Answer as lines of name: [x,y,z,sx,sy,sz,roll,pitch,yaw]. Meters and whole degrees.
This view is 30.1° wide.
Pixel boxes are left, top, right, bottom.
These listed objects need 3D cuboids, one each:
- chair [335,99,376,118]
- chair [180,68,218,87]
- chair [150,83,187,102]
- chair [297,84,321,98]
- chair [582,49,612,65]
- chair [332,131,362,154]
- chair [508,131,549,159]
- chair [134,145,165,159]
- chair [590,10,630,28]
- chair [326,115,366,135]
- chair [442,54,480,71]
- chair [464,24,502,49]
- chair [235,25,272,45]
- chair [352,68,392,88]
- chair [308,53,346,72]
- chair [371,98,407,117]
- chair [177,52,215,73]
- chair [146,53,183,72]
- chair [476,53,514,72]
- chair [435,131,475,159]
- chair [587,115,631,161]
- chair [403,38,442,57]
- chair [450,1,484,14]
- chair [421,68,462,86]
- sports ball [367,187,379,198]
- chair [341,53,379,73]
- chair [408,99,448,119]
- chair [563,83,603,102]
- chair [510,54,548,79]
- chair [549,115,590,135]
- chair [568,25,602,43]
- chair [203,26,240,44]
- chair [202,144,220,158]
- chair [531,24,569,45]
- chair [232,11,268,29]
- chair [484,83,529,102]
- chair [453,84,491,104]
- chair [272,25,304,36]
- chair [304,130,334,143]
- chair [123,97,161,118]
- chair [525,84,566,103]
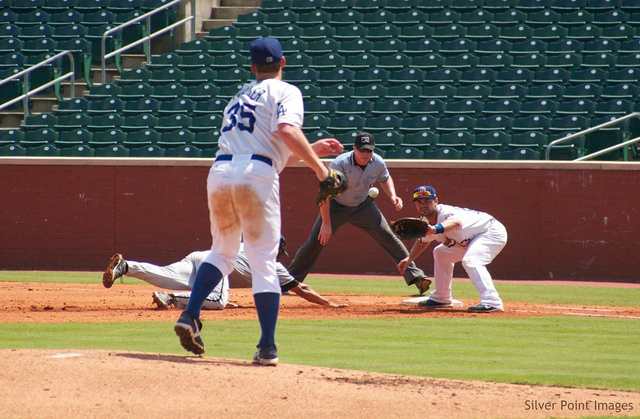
chair: [0.783,-2.223,26.226,0.753,0.447,0.428,0,-17,15]
chair: [-2.796,-3.023,27.476,0.642,0.335,0.590,0,-1,24]
chair: [-3.433,-2.602,27.038,0.645,0.501,0.370,0,-25,22]
chair: [-0.249,-2.643,26.789,0.448,0.262,0.309,-6,4,2]
chair: [6.180,-3.364,26.561,0.630,0.343,0.498,3,4,7]
chair: [0.537,-1.447,25.193,0.571,0.429,0.859,3,4,0]
chair: [4.401,-1.236,24.991,0.792,0.645,0.644,0,-10,23]
chair: [-3.682,-1.258,25.461,0.660,0.241,0.242,4,4,23]
chair: [6.717,-4.351,27.520,0.710,0.462,0.456,-3,-23,25]
chair: [0.567,-1.808,25.737,0.873,0.401,0.405,0,-23,9]
chair: [3.254,-3.334,27.077,0.671,0.271,0.488,2,5,21]
chair: [3.837,-4.092,27.832,0.841,0.667,0.619,3,3,19]
chair: [-1.646,-4.217,28.925,0.784,0.520,0.779,4,4,19]
chair: [1.200,-2.990,27.089,0.764,0.391,0.529,0,-5,16]
chair: [0.192,-3.375,27.552,0.622,0.326,0.532,-1,-4,13]
chair: [1.562,-2.226,26.147,0.663,0.410,0.412,-1,-21,16]
chair: [-2.896,-3.476,27.931,0.671,0.343,0.571,0,4,19]
chair: [-3.659,-3.459,28.136,0.615,0.315,0.551,0,1,23]
chair: [3.968,-3.293,26.889,0.726,0.452,0.462,-1,-19,23]
chair: [2.952,-1.445,25.377,0.801,0.634,0.651,2,-9,28]
chair: [5.890,-1.426,24.110,1.036,1.149,0.969,0,-3,22]
chair: [2.406,-3.754,27.751,0.764,0.409,0.539,-1,-8,17]
chair: [3.546,-4.848,28.756,0.568,0.415,0.484,3,-4,13]
chair: [2.769,-2.966,26.814,0.954,0.443,0.470,1,-5,22]
sports ball: [0.919,-0.295,20.295,0.170,0.118,0.174,-4,4,0]
chair: [0.954,-3.368,27.473,0.619,0.319,0.558,1,-2,19]
chair: [2.363,-2.199,26.022,0.949,0.437,0.458,2,-12,14]
chair: [5.740,-2.529,25.820,0.631,0.332,0.536,2,1,30]
chair: [4.725,-3.205,26.838,0.691,0.532,0.522,4,-2,30]
chair: [5.282,-1.795,25.031,0.869,0.398,0.425,-2,-6,19]
chair: [6.061,-3.983,27.309,0.624,0.462,0.419,0,-15,23]
chair: [-2.375,-4.235,28.982,0.636,0.319,0.525,0,3,12]
chair: [-2.353,-1.230,25.362,0.346,0.237,0.232,5,4,27]
chair: [5.326,-4.034,27.534,0.785,0.489,0.512,-1,-17,27]
chair: [-1.731,-4.673,29.571,0.691,0.348,0.567,0,5,13]
chair: [4.147,-2.544,26.095,0.646,0.332,0.539,2,0,25]
chair: [3.393,-2.552,26.270,0.714,0.372,0.509,4,2,28]
chair: [-0.788,-4.287,28.884,0.432,0.159,0.414,-1,1,6]
chair: [-0.021,-1.569,25.483,0.418,0.378,0.345,0,0,1]
chair: [-3.945,-2.267,26.556,0.632,0.324,0.557,0,-3,9]
chair: [4.977,-2.532,25.968,0.735,0.386,0.519,3,1,28]
